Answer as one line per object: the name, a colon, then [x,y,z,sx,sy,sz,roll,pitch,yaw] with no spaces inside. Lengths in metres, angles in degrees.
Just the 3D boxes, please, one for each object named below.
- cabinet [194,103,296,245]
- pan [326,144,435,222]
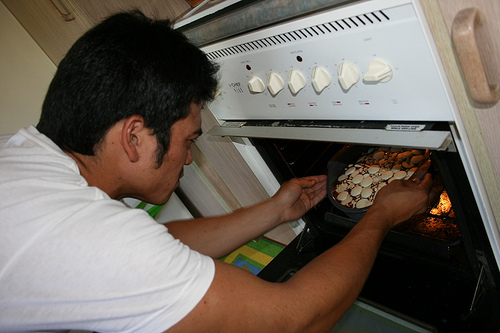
cabinet: [-0.040,0.036,1.378,0.376,0.697,0.383,-14,26,-36]
pan: [0.513,-0.018,1.122,0.398,0.253,0.461,-10,21,-28]
